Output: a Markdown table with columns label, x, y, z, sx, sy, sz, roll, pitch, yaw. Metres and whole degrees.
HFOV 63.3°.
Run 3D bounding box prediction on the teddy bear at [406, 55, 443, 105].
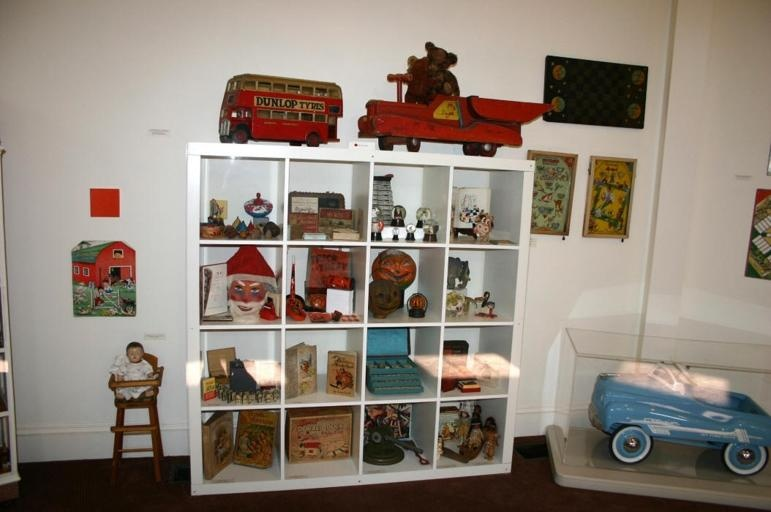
| label | x | y | z | sx | sy | sz | roll | pitch | yaw |
| --- | --- | --- | --- | --- | --- | --- | --- | --- | --- |
| teddy bear | 0.263 | -1.358 | 4.821 | 0.250 | 0.371 | 0.151 | 0 | 7 | 9 |

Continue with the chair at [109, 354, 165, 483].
| label | x | y | z | sx | sy | sz | roll | pitch | yaw |
| --- | --- | --- | --- | --- | --- | --- | --- | --- | --- |
| chair | -1.931 | 1.251 | 4.894 | 0.404 | 0.932 | 0.483 | -3 | 7 | -18 |

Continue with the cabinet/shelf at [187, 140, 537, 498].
| label | x | y | z | sx | sy | sz | roll | pitch | yaw |
| --- | --- | --- | --- | --- | --- | --- | --- | --- | --- |
| cabinet/shelf | -0.273 | 0.495 | 4.920 | 2.672 | 2.527 | 0.687 | -1 | 8 | -8 |

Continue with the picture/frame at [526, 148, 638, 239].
| label | x | y | z | sx | sy | sz | roll | pitch | yaw |
| --- | --- | --- | --- | --- | --- | --- | --- | --- | --- |
| picture/frame | 1.662 | -0.574 | 5.442 | 0.794 | 0.576 | 0.029 | 2 | 10 | -5 |

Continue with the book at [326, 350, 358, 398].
| label | x | y | z | sx | sy | sz | roll | pitch | yaw |
| --- | --- | --- | --- | --- | --- | --- | --- | --- | --- |
| book | -0.350 | 0.916 | 4.988 | 0.310 | 0.333 | 0.272 | 0 | -3 | 36 |

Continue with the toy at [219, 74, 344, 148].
| label | x | y | z | sx | sy | sz | roll | pitch | yaw |
| --- | --- | --- | --- | --- | --- | --- | --- | --- | --- |
| toy | -0.786 | -1.104 | 4.816 | 0.907 | 0.489 | 0.299 | -2 | 8 | -29 |

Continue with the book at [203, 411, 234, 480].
| label | x | y | z | sx | sy | sz | roll | pitch | yaw |
| --- | --- | --- | --- | --- | --- | --- | --- | --- | --- |
| book | -1.292 | 1.445 | 4.846 | 0.126 | 0.462 | 0.318 | 1 | 7 | 19 |

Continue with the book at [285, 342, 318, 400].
| label | x | y | z | sx | sy | sz | roll | pitch | yaw |
| --- | --- | --- | --- | --- | --- | --- | --- | --- | --- |
| book | -0.662 | 0.890 | 4.867 | 0.269 | 0.405 | 0.069 | -7 | 9 | -42 |
